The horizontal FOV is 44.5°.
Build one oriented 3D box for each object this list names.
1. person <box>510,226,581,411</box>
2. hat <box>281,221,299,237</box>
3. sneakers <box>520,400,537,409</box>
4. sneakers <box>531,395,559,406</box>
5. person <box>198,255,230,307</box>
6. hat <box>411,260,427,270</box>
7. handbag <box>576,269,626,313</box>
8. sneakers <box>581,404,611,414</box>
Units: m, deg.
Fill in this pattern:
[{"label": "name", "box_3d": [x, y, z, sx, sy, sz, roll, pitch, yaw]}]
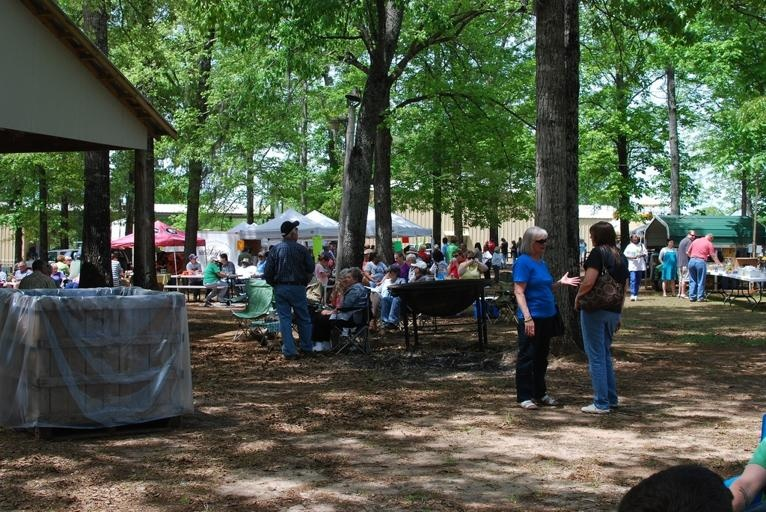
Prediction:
[{"label": "person", "box_3d": [2.300, 0.930, 14.045, 0.724, 2.652, 0.624, -5, 13, -24]}, {"label": "hat", "box_3d": [-1.750, -0.505, 17.453, 0.260, 0.207, 0.402, -8, 24, 34]}, {"label": "sneakers", "box_3d": [2.166, 2.244, 14.010, 0.233, 0.087, 0.111, -1, -2, 25]}, {"label": "sneakers", "box_3d": [2.453, 2.207, 14.215, 0.391, 0.157, 0.142, -1, -2, 6]}, {"label": "person", "box_3d": [-4.766, 0.710, 26.468, 0.661, 1.367, 1.404, -2, 11, -10]}, {"label": "hat", "box_3d": [0.790, 0.204, 20.470, 0.247, 0.197, 0.504, -1, 10, -4]}, {"label": "handbag", "box_3d": [3.143, 0.514, 13.703, 0.661, 0.619, 0.304, -11, 3, -12]}, {"label": "sneakers", "box_3d": [3.111, 2.262, 13.815, 0.428, 0.180, 0.160, 2, -3, 17]}]
